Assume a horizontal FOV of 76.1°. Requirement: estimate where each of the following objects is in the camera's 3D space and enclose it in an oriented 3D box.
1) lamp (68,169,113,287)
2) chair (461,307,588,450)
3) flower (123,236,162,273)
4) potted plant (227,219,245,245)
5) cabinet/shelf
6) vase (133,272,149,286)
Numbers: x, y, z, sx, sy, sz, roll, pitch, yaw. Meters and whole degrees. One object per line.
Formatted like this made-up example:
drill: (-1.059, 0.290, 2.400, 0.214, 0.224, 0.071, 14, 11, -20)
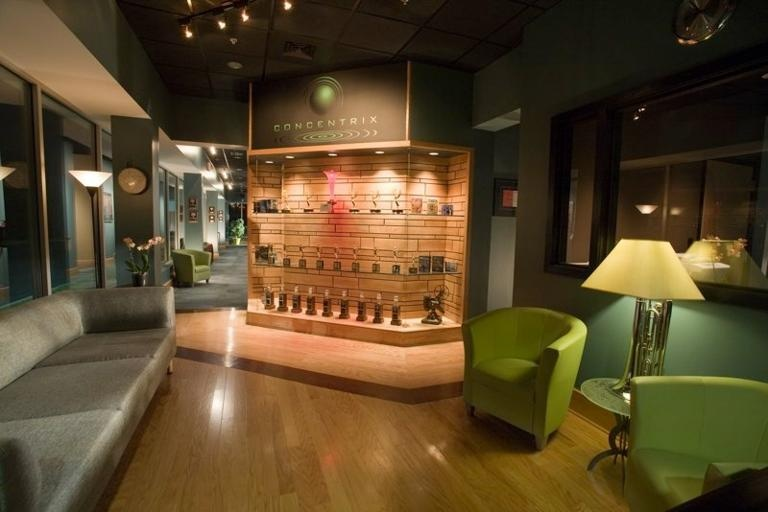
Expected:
lamp: (-3.643, -0.346, 6.138, 0.411, 1.418, 1.822, -4, 11, -29)
chair: (1.218, 1.014, 4.687, 1.090, 1.287, 1.277, 7, -3, -40)
flower: (-3.234, -0.025, 6.480, 0.463, 0.439, 0.305, 1, -10, -8)
potted plant: (-6.866, -1.058, 22.724, 0.553, 1.373, 1.835, -2, 10, -19)
cabinet/shelf: (-0.414, 0.211, 6.593, 2.931, 1.609, 0.867, 5, 10, 18)
vase: (-2.693, 0.250, 5.444, 0.142, 0.155, 0.150, 4, 7, 13)
